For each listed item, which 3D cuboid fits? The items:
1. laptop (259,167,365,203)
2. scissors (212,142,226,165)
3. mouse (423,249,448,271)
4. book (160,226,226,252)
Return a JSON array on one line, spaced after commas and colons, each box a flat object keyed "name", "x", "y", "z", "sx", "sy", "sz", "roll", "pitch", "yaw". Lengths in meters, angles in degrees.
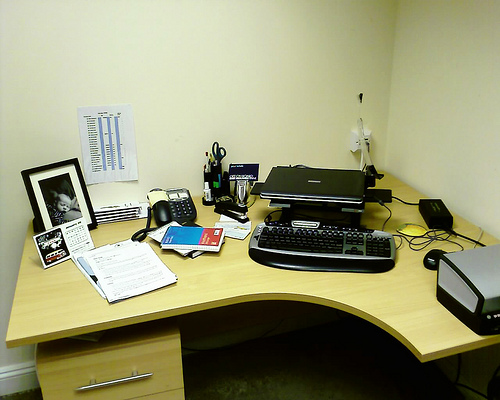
[{"name": "laptop", "x": 0.279, "y": -0.066, "z": 1.708, "sx": 0.419, "sy": 0.090, "sz": 0.316, "roll": 0, "pitch": 20, "yaw": 16}, {"name": "scissors", "x": -0.153, "y": -0.233, "z": 1.934, "sx": 0.068, "sy": 0.102, "sz": 0.058, "roll": -12, "pitch": 20, "yaw": -21}, {"name": "mouse", "x": 0.673, "y": 0.219, "z": 1.444, "sx": 0.083, "sy": 0.055, "sz": 0.046, "roll": -21, "pitch": 24, "yaw": -38}, {"name": "book", "x": -0.225, "y": 0.158, "z": 1.548, "sx": 0.153, "sy": 0.028, "sz": 0.116, "roll": 4, "pitch": 29, "yaw": 3}]
